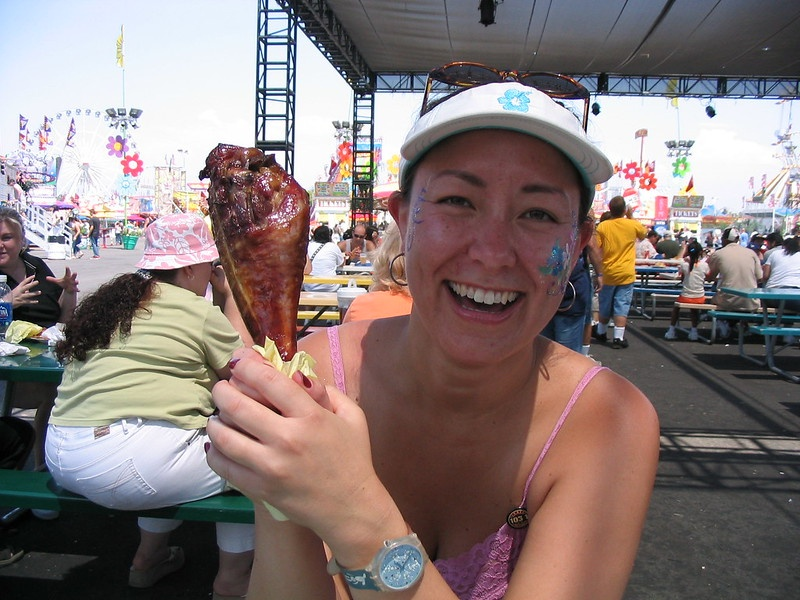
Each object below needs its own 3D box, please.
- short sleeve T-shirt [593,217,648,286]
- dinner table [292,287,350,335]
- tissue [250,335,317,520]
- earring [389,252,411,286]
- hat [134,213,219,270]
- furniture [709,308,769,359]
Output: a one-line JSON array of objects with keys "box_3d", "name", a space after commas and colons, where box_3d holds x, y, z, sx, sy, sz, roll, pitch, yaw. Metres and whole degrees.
[{"box_3d": [3.441, -0.788, 9.387, 0.853, 1.043, 0.361, -2, 16, 15], "name": "short sleeve T-shirt"}, {"box_3d": [-1.148, 0.239, 8.545, 0.774, 0.433, 1.853, -2, -12, -13], "name": "dinner table"}, {"box_3d": [-0.352, 0.366, 1.702, 0.122, 0.453, 0.336, 6, -20, -37], "name": "tissue"}, {"box_3d": [0.011, -0.181, 3.709, 0.190, 0.183, 0.039, 4, -2, -42], "name": "earring"}, {"box_3d": [-1.202, -0.319, 3.224, 0.493, 0.258, 0.498, -6, 11, -35], "name": "hat"}, {"box_3d": [5.507, 0.537, 9.632, 0.664, 0.437, 0.473, 1, 14, 12], "name": "furniture"}]
